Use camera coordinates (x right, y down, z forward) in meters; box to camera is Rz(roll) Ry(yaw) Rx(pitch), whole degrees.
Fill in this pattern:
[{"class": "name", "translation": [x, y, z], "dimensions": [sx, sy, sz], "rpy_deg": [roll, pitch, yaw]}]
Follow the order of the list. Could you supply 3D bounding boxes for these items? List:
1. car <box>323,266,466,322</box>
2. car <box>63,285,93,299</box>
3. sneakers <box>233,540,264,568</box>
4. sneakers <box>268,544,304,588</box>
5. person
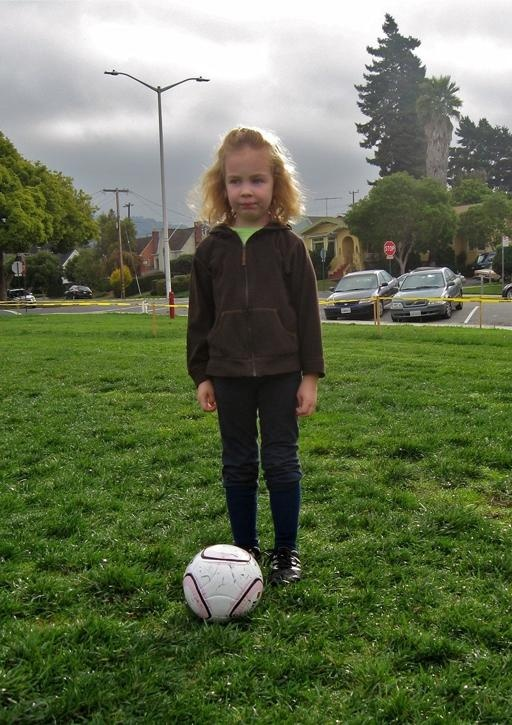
[{"class": "car", "translation": [4.209, -1.965, 18.972], "dimensions": [2.056, 1.019, 3.423], "rpy_deg": [-2, 5, 28]}, {"class": "car", "translation": [-15.256, -6.040, 55.989], "dimensions": [1.270, 0.901, 2.675], "rpy_deg": [-4, 10, -25]}, {"class": "sneakers", "translation": [-0.026, 0.819, 2.775], "dimensions": [0.071, 0.085, 0.192], "rpy_deg": [2, -13, 8]}, {"class": "sneakers", "translation": [0.120, 0.839, 2.698], "dimensions": [0.102, 0.099, 0.253], "rpy_deg": [-2, -7, 2]}, {"class": "person", "translation": [0.006, -0.067, 2.810], "dimensions": [0.625, 1.867, 0.490], "rpy_deg": [2, 6, 21]}]
